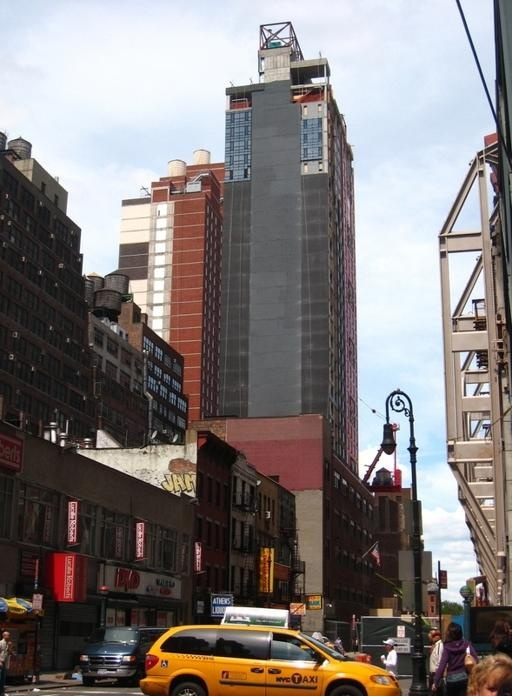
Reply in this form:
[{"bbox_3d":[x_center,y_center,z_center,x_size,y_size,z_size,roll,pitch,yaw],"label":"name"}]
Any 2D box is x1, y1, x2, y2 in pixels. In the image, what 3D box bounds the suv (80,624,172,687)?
[{"bbox_3d":[-4.090,9.174,30.940,1.569,1.443,3.371,-4,-22,8],"label":"suv"}]
